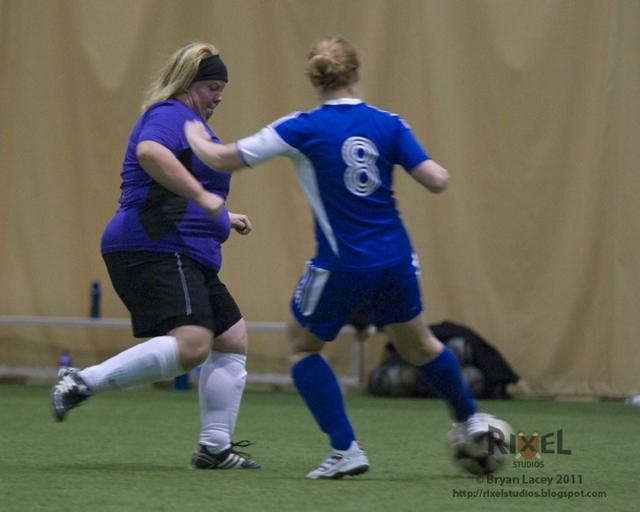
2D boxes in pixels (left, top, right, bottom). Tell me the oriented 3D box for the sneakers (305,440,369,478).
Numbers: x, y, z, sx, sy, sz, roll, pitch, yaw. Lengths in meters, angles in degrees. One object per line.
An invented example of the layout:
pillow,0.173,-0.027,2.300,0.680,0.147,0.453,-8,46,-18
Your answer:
sneakers,0.092,0.880,4.325,0.308,0.160,0.113,-17,-27,20

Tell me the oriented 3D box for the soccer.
soccer,0.671,0.784,4.356,0.223,0.252,0.177,-4,37,5

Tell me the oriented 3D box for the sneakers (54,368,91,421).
sneakers,-1.068,0.600,4.433,0.163,0.227,0.163,-1,2,-14

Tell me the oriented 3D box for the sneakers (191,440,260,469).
sneakers,-0.428,0.906,4.628,0.316,0.137,0.121,4,-4,-8
